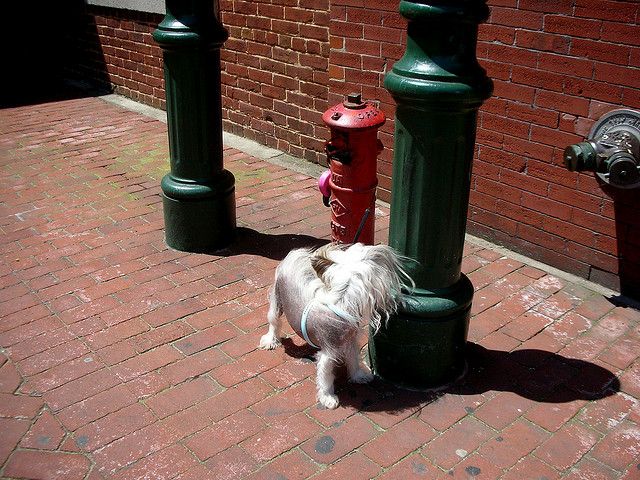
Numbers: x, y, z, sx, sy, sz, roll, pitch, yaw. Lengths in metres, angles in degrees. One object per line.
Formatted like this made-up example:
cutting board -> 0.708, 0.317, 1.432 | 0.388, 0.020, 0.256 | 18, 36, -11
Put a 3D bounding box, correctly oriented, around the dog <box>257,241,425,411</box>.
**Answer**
dog -> 0.111, 0.443, 3.712 | 0.799, 1.022, 0.806 | -24, 38, -34
